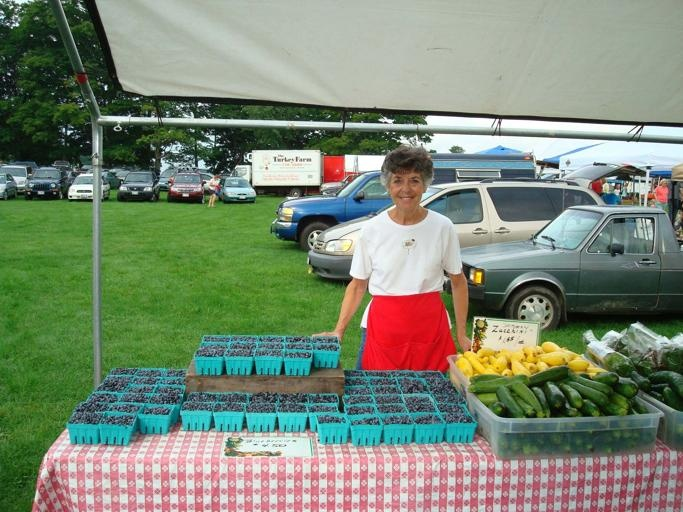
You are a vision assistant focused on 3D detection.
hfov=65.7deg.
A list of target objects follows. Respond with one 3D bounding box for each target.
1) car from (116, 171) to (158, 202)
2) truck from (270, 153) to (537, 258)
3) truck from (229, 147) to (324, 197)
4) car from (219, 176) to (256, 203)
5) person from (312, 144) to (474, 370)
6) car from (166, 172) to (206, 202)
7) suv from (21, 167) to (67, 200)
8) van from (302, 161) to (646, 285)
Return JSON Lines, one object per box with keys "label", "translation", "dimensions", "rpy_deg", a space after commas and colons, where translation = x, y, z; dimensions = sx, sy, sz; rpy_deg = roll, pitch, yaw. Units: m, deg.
{"label": "car", "translation": [-11.858, -4.008, 30.849], "dimensions": [1.836, 1.714, 2.350], "rpy_deg": [0, 11, -8]}
{"label": "truck", "translation": [1.954, -1.570, 14.951], "dimensions": [7.501, 2.307, 3.120], "rpy_deg": [-1, 7, -3]}
{"label": "truck", "translation": [-5.371, -5.575, 37.663], "dimensions": [7.082, 3.112, 3.052], "rpy_deg": [-6, 3, -38]}
{"label": "car", "translation": [-6.334, -4.014, 32.417], "dimensions": [1.919, 1.480, 1.985], "rpy_deg": [0, 11, -9]}
{"label": "person", "translation": [0.451, 0.045, 3.716], "dimensions": [0.959, 1.586, 0.349], "rpy_deg": [1, 11, -2]}
{"label": "car", "translation": [-9.150, -3.973, 31.024], "dimensions": [1.918, 1.663, 1.830], "rpy_deg": [-2, 11, -17]}
{"label": "suv", "translation": [-17.052, -4.445, 30.911], "dimensions": [1.808, 1.385, 3.385], "rpy_deg": [1, 19, -18]}
{"label": "van", "translation": [2.729, -0.751, 10.599], "dimensions": [6.010, 1.653, 2.304], "rpy_deg": [-3, 7, -12]}
